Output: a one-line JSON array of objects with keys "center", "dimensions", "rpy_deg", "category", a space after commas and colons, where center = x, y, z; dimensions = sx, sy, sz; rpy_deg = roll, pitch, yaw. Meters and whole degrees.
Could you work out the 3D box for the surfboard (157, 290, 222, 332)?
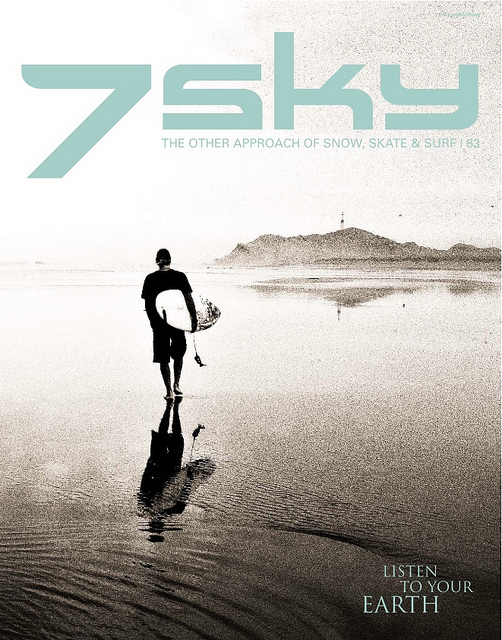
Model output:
[{"center": [-0.661, -0.069, 9.042], "dimensions": [0.771, 0.200, 0.582], "rpy_deg": [10, 40, 15], "category": "surfboard"}]
